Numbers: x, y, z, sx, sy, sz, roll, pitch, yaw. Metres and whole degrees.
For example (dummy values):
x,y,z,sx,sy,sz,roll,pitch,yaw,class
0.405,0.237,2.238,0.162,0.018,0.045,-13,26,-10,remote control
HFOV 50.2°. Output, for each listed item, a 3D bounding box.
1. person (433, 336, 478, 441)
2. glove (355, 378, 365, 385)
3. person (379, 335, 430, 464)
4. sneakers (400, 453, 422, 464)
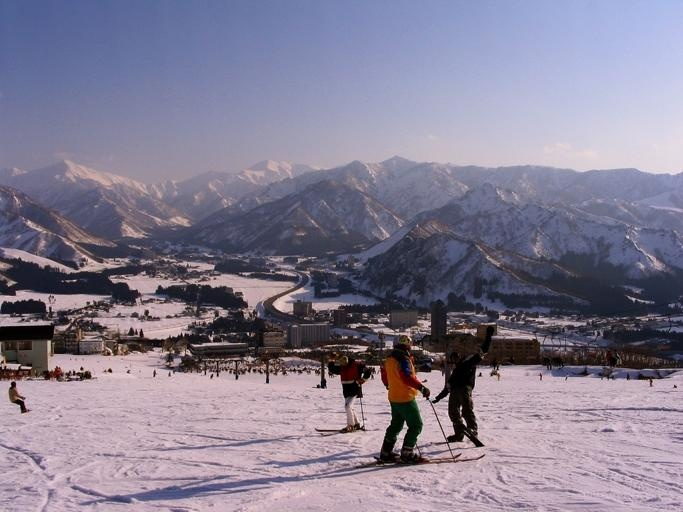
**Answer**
x,y,z,sx,sy,sz,roll,pitch,yaw,class
3.627,4.190,21.772,1.157,2.741,0.593,-2,-4,35,person
0.635,3.921,22.920,0.264,0.166,0.254,-3,-5,41,glove
1.719,3.984,20.533,1.254,3.475,0.995,0,-3,5,person
1.922,5.621,20.368,0.689,0.290,0.246,0,-1,-1,sneakers
